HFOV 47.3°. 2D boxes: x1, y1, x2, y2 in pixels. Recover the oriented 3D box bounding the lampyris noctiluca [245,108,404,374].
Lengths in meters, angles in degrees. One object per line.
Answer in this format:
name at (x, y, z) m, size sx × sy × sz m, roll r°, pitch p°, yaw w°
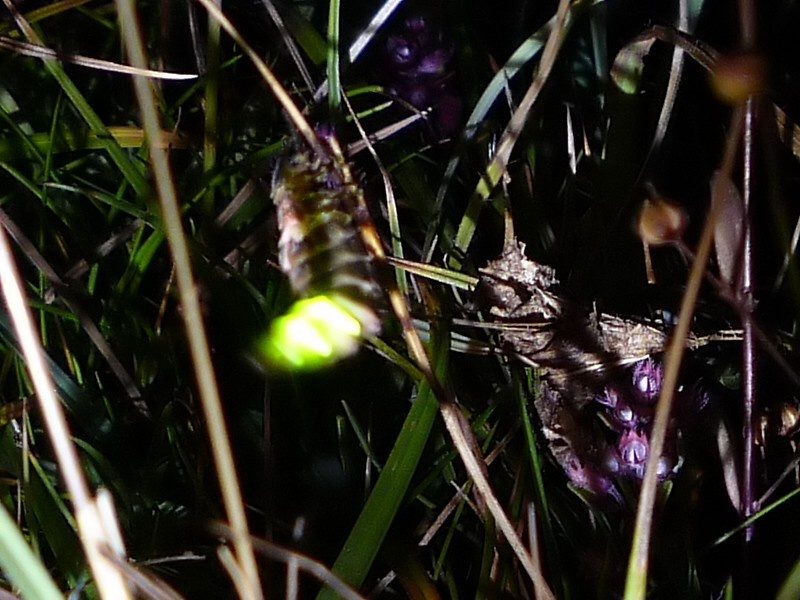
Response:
lampyris noctiluca at (-0.078, -0.049, 0.893) m, size 0.114 × 0.225 × 0.053 m, roll -17°, pitch -16°, yaw 17°
